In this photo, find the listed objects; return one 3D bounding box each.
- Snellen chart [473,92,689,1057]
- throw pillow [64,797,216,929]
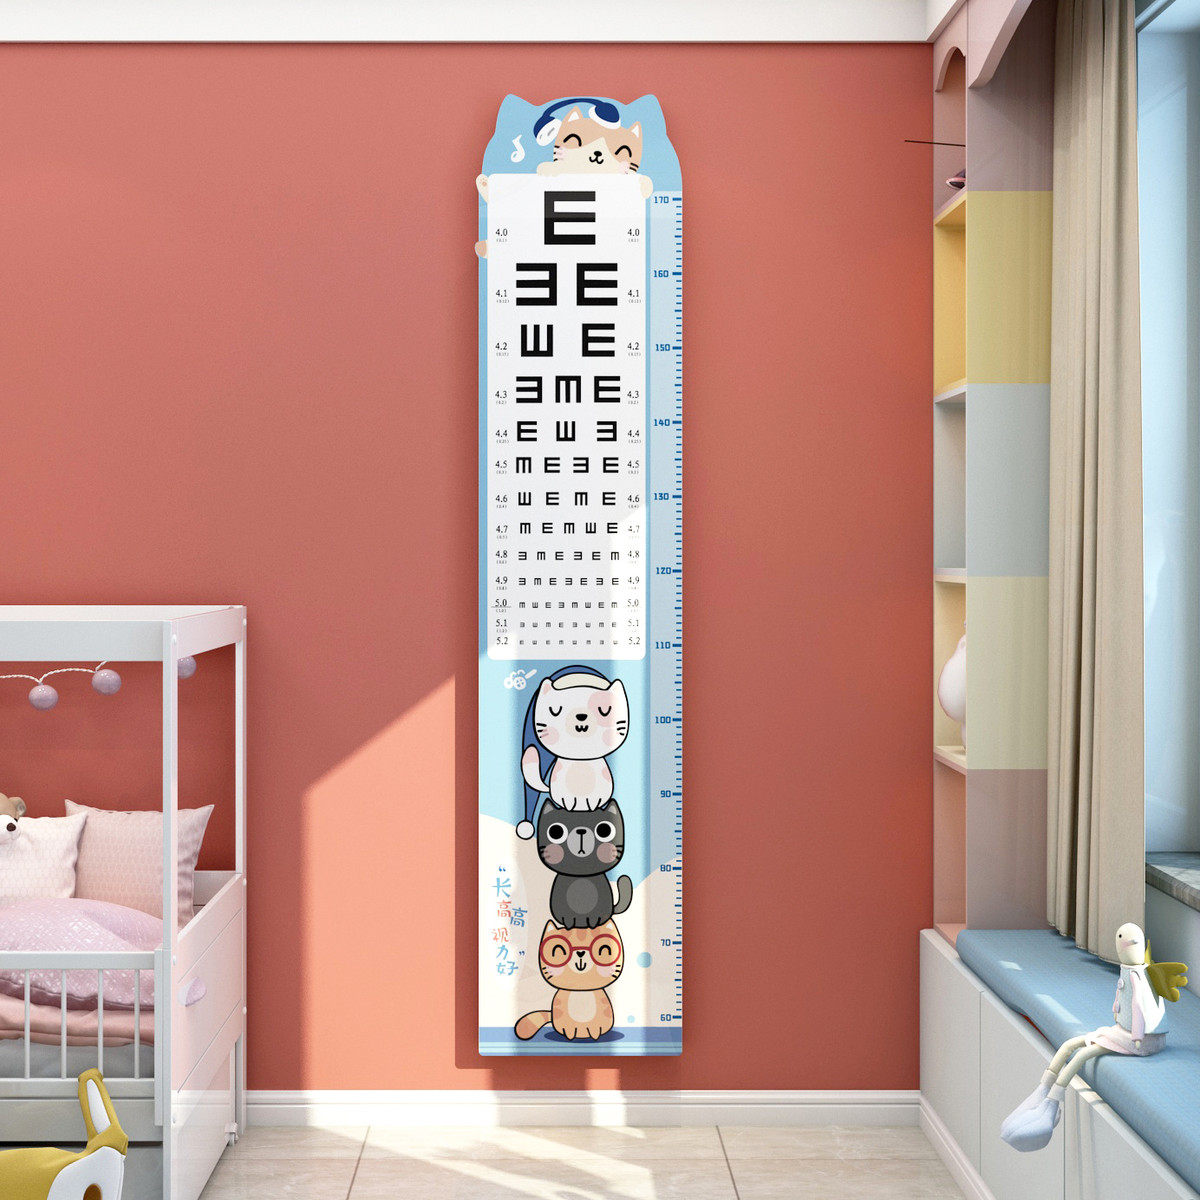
[{"bbox_3d":[-0.050,-0.047,3.183,0.534,2.061,0.106,-4,2,4],"label":"Snellen chart"},{"bbox_3d":[-0.937,0.514,3.025,0.258,0.232,0.175,4,7,4],"label":"throw pillow"}]
